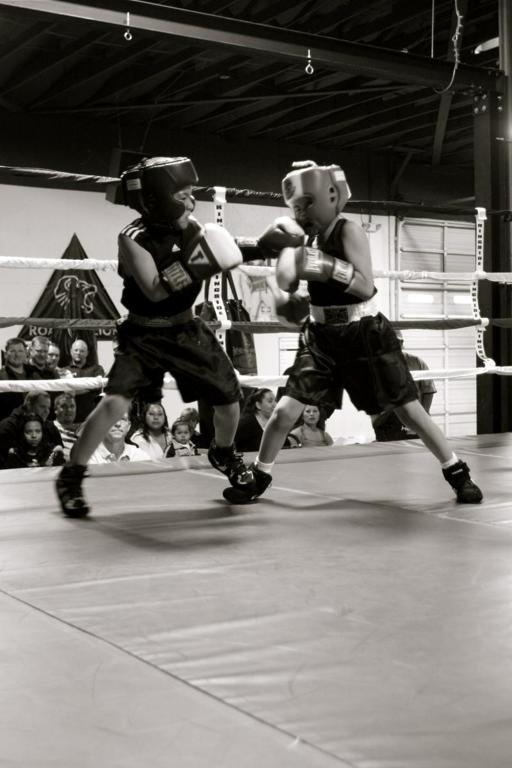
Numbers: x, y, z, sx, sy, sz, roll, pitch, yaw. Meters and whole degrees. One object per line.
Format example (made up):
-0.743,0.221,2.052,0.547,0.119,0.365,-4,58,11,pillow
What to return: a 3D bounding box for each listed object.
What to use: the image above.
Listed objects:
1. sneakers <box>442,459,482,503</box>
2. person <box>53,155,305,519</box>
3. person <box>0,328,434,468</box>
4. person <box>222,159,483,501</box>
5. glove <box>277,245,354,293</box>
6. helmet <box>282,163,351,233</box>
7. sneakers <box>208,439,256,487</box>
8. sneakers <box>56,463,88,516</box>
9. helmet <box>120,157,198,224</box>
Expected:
0.612,0.290,1.996,0.068,0.070,0.173,-22,19,-5,sneakers
-0.210,-0.116,1.846,0.569,0.985,0.388,1,0,-37,person
-0.269,0.086,3.004,1.225,0.332,0.360,-6,30,-8,person
0.361,-0.054,2.646,1.138,1.430,0.832,7,-16,-21,person
0.168,-0.309,1.800,0.166,0.070,0.134,1,-1,-7,glove
0.182,-0.561,2.004,0.243,0.202,0.174,3,-2,-16,helmet
-0.089,0.221,2.048,0.212,0.093,0.072,35,56,21,sneakers
-0.510,0.295,1.800,0.092,0.151,0.069,1,0,-12,sneakers
-0.245,-0.510,1.776,0.205,0.164,0.168,13,11,13,helmet
